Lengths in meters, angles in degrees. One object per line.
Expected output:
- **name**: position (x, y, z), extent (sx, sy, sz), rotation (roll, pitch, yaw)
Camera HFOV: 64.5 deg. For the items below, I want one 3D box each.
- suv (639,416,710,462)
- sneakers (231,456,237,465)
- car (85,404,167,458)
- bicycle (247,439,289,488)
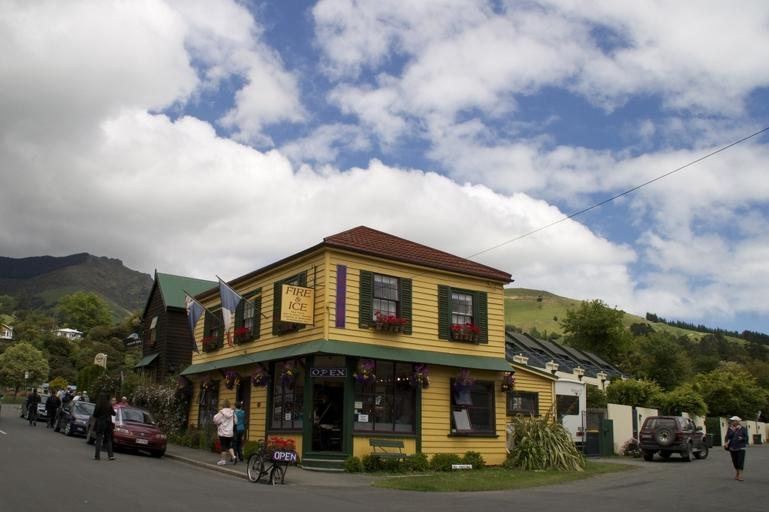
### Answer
- **suv**: position (16.650, 10.329, 34.610), extent (2.285, 1.836, 4.259), rotation (-5, -10, 37)
- **sneakers**: position (-6.344, 8.733, 25.824), extent (0.142, 0.170, 0.402), rotation (-8, -41, -24)
- **car**: position (-11.200, 7.974, 27.634), extent (2.054, 1.626, 4.746), rotation (11, -19, -33)
- **bicycle**: position (-4.338, 7.764, 22.633), extent (1.150, 1.378, 2.439), rotation (11, -21, -25)
